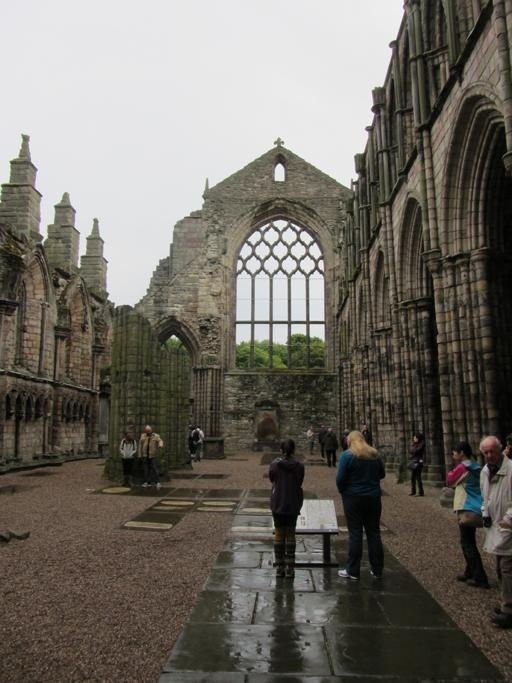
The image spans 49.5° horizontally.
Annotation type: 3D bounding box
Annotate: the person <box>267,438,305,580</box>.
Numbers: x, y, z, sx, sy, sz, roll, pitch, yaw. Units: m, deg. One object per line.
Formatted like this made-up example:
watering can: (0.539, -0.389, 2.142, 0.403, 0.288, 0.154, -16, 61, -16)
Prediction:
person: (0.269, 1.569, 5.122, 0.309, 1.074, 0.312, -3, -8, 15)

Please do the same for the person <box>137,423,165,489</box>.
person: (-2.405, 2.568, 12.566, 0.508, 1.341, 1.328, 1, -7, -10)

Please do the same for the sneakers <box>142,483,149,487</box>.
sneakers: (-2.444, 3.157, 12.293, 0.135, 0.055, 0.170, 1, -5, -4)

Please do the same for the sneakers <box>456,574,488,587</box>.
sneakers: (1.852, 2.041, 4.767, 0.247, 0.101, 0.079, 11, -15, 37)

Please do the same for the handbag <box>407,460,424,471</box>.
handbag: (3.070, 2.371, 10.721, 0.150, 0.202, 0.208, 12, -9, -10)

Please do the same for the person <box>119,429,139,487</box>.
person: (-2.878, 2.642, 12.605, 0.351, 1.163, 0.962, 1, -8, -13)

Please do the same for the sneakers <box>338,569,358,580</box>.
sneakers: (0.813, 2.076, 4.941, 0.068, 0.067, 0.155, 7, -2, -34)

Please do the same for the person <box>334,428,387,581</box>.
person: (0.932, 1.455, 5.007, 0.434, 1.276, 0.421, -2, -8, 9)
